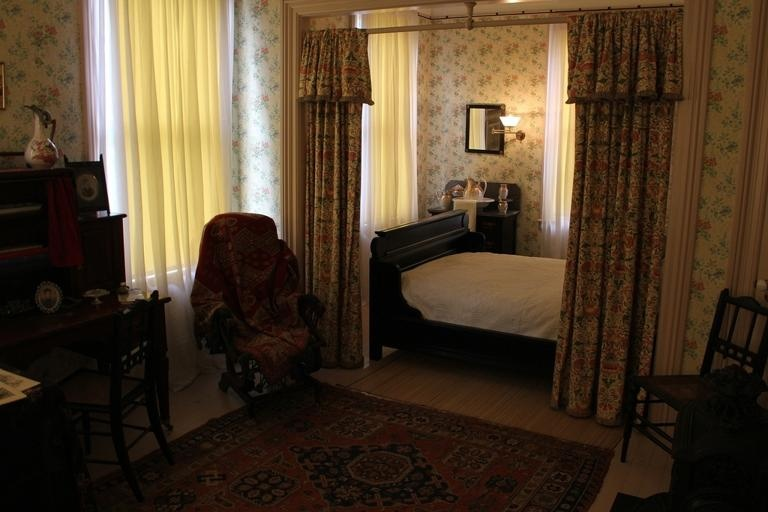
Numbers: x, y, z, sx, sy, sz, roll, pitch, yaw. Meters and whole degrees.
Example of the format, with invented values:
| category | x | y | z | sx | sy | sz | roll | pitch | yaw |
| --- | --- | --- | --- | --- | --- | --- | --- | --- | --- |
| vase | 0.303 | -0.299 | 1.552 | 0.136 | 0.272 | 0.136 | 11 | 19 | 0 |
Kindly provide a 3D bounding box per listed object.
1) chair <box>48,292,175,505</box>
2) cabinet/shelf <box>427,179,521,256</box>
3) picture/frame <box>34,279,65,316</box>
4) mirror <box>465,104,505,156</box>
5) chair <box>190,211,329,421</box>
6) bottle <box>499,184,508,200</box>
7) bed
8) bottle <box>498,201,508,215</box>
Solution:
| category | x | y | z | sx | sy | sz | roll | pitch | yaw |
| --- | --- | --- | --- | --- | --- | --- | --- | --- | --- |
| chair | -1.918 | 0.852 | 3.707 | 0.829 | 1.218 | 0.825 | -8 | -26 | -12 |
| cabinet/shelf | 1.241 | -0.419 | 7.572 | 0.891 | 0.923 | 0.507 | 12 | -5 | -11 |
| picture/frame | -2.353 | 0.296 | 3.795 | 0.036 | 0.205 | 0.209 | -6 | 15 | 23 |
| mirror | 1.449 | -1.831 | 7.785 | 0.567 | 0.634 | 0.035 | 0 | 14 | -2 |
| chair | -1.034 | 0.448 | 4.609 | 0.889 | 1.408 | 1.086 | 12 | 14 | 36 |
| bottle | 1.708 | -0.901 | 7.675 | 0.127 | 0.208 | 0.245 | 1 | 15 | 12 |
| bed | 0.887 | 0.398 | 5.420 | 1.694 | 0.960 | 1.692 | 7 | 14 | 26 |
| bottle | 1.671 | -0.671 | 7.571 | 0.190 | 0.220 | 0.174 | -1 | 5 | 0 |
